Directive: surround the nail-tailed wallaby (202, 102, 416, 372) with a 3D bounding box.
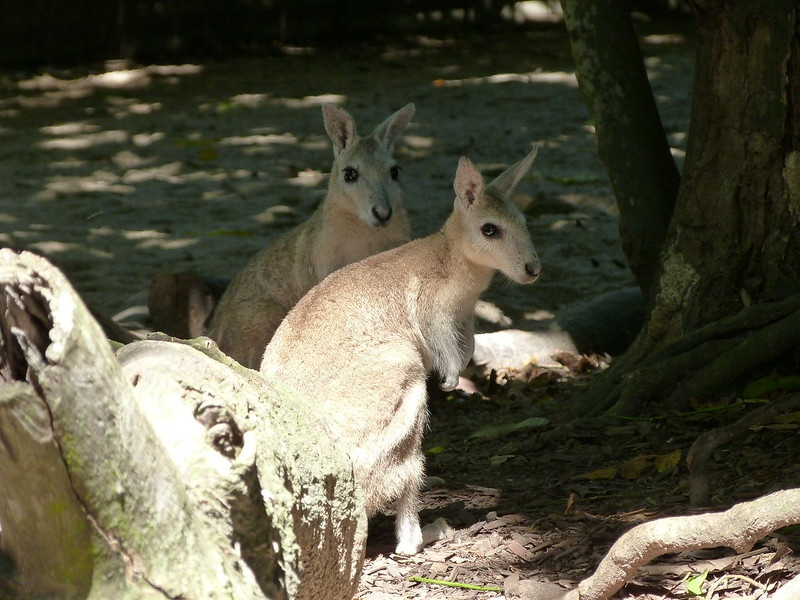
[{"bbox_3d":[-0.957,-0.588,10.991,1.829,2.187,1.567,-12,19,-24],"label":"nail-tailed wallaby"}]

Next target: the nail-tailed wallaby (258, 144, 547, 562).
[{"bbox_3d":[-0.022,0.326,8.674,1.080,2.469,1.870,9,17,36],"label":"nail-tailed wallaby"}]
